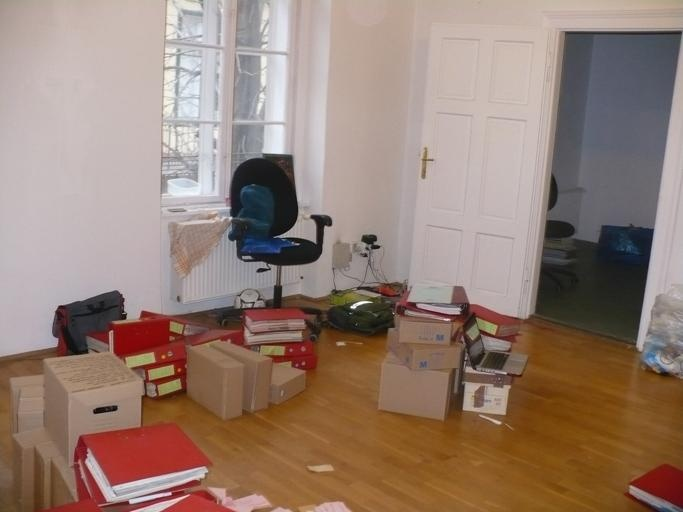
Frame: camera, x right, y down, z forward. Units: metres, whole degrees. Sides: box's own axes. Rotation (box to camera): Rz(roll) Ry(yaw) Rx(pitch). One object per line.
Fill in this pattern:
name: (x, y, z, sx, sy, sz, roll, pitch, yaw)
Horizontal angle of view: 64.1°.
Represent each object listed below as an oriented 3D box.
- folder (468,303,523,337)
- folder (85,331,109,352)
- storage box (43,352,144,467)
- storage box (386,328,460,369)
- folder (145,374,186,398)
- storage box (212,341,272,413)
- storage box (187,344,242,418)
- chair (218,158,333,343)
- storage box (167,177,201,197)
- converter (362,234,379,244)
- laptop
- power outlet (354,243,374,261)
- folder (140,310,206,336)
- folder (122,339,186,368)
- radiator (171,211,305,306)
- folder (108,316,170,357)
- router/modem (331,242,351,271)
folder: (1.039, 0.446, 3.729, 0.267, 0.067, 0.264, 18, 17, 28)
folder: (-1.613, 0.566, 3.599, 0.176, 0.173, 0.049, -7, -10, 16)
storage box: (-1.161, 0.628, 2.540, 0.423, 0.323, 0.440, -8, 26, -40)
storage box: (0.553, 0.505, 3.376, 0.271, 0.120, 0.369, -4, 10, -31)
folder: (-1.115, 0.817, 3.470, 0.131, 0.057, 0.164, 3, 7, 40)
storage box: (-0.615, 0.750, 3.317, 0.134, 0.314, 0.384, -8, 11, -44)
storage box: (-0.769, 0.771, 3.302, 0.329, 0.268, 0.116, 24, 24, 37)
chair: (-0.521, -0.120, 4.406, 0.829, 1.272, 0.792, -7, 14, -39)
storage box: (-1.381, -0.599, 4.762, 0.205, 0.082, 0.157, 14, 19, 41)
converter: (0.288, -0.182, 5.675, 0.110, 0.048, 0.109, -3, 9, -42)
laptop: (0.951, 0.615, 3.496, 0.441, 0.303, 0.425, 4, 16, 17)
power outlet: (0.235, -0.033, 5.702, 0.262, 0.226, 0.103, -5, 15, -23)
folder: (-1.094, 0.470, 3.747, 0.226, 0.099, 0.286, 9, 8, 40)
folder: (-1.167, 0.624, 3.478, 0.415, 0.108, 0.120, -11, 20, -35)
radiator: (-0.928, 0.010, 4.626, 0.861, 0.449, 0.120, -15, 29, -41)
folder: (-1.297, 0.543, 3.566, 0.399, 0.233, 0.221, -1, 1, -34)
router/modem: (-0.019, -0.005, 5.516, 0.272, 0.337, 0.115, -5, 9, -44)
